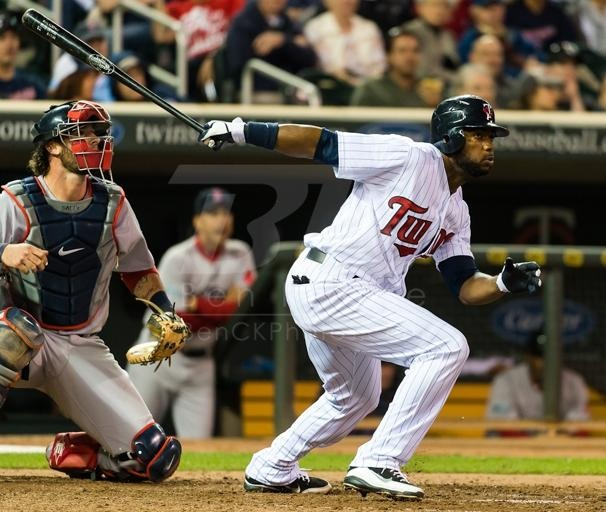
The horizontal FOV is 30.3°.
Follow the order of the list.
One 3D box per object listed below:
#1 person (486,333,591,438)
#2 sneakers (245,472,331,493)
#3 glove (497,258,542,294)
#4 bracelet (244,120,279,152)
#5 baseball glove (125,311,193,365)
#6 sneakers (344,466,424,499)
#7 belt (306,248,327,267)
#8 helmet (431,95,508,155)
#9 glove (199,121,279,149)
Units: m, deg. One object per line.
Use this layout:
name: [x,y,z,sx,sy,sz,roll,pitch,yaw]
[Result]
person: [1.726,0.949,7.994,0.801,0.850,0.525,5,-23,10]
sneakers: [-0.075,1.101,5.455,0.419,0.111,0.131,1,5,-10]
glove: [1.033,0.098,5.263,0.213,0.156,0.089,2,-22,-3]
bracelet: [-0.177,-0.548,5.050,0.173,0.090,0.113,3,1,15]
baseball glove: [-0.720,0.415,5.561,0.360,0.219,0.157,-24,-7,13]
sneakers: [0.371,1.028,5.133,0.419,0.159,0.133,4,-8,9]
belt: [0.073,-0.001,5.226,0.090,0.067,0.021,27,12,35]
helmet: [0.756,-0.629,5.370,0.389,0.235,0.274,3,4,33]
glove: [-0.270,-0.551,5.114,0.281,0.083,0.160,-1,-11,4]
